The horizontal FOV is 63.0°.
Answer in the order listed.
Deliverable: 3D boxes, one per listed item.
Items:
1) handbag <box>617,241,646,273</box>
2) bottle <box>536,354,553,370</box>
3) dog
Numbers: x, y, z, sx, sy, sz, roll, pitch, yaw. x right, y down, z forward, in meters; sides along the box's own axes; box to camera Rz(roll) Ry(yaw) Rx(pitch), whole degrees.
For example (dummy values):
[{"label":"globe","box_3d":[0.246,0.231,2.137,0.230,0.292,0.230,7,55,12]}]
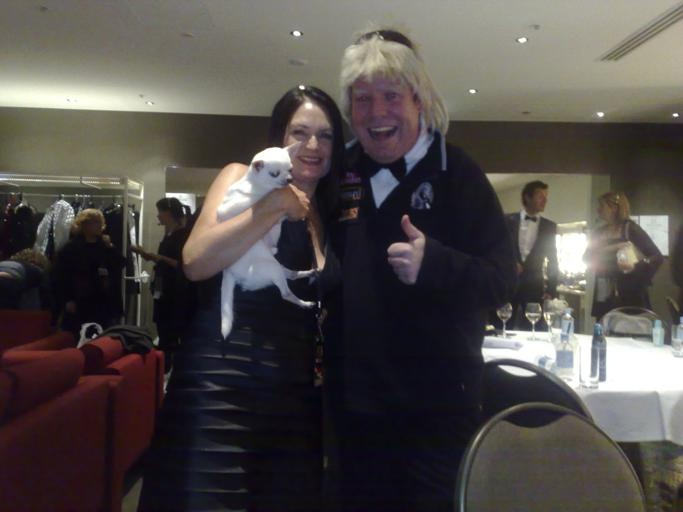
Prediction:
[{"label":"handbag","box_3d":[2.678,-0.023,5.182,0.129,0.296,0.226,10,-35,50]},{"label":"bottle","box_3d":[1.324,0.673,3.612,0.133,0.076,0.218,8,-5,26]},{"label":"dog","box_3d":[-0.417,-0.305,2.968,0.253,0.436,0.937,25,22,-28]}]
